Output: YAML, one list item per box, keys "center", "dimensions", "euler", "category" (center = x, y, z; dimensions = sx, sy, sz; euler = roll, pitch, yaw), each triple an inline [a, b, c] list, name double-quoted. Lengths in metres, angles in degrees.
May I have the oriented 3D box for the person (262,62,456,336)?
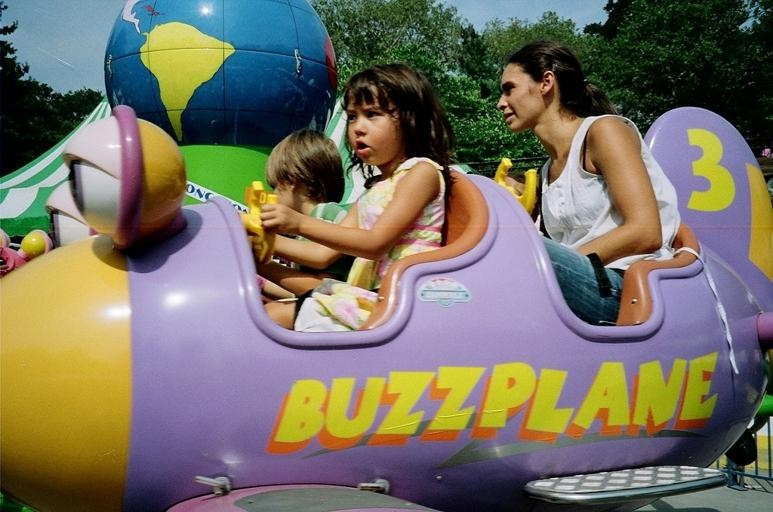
- center: [-0.026, -0.192, 2.126]
  dimensions: [0.761, 0.873, 0.678]
  euler: [-2, 2, -17]
  category: "person"

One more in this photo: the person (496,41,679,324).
- center: [0.738, -0.292, 2.199]
  dimensions: [0.583, 0.862, 0.733]
  euler: [-1, 16, -7]
  category: "person"
